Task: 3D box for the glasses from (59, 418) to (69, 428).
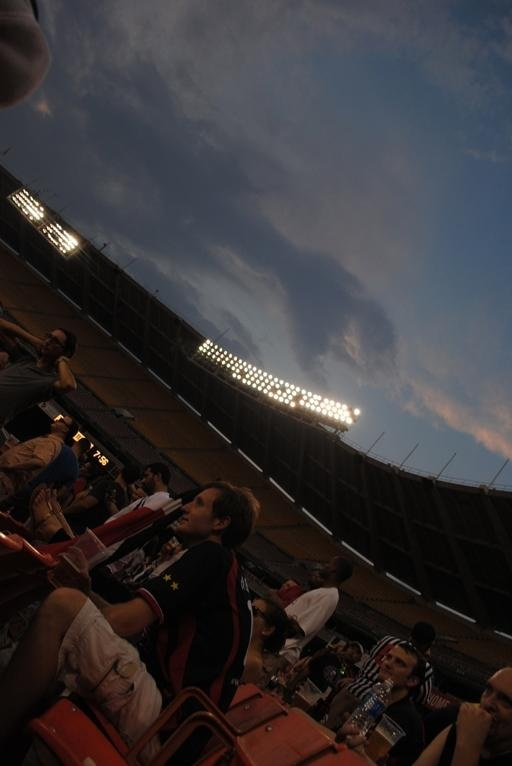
[{"bbox_3d":[-2.481,0.506,7.940,0.101,0.117,0.118,-22,13,-2],"label":"glasses"}]
